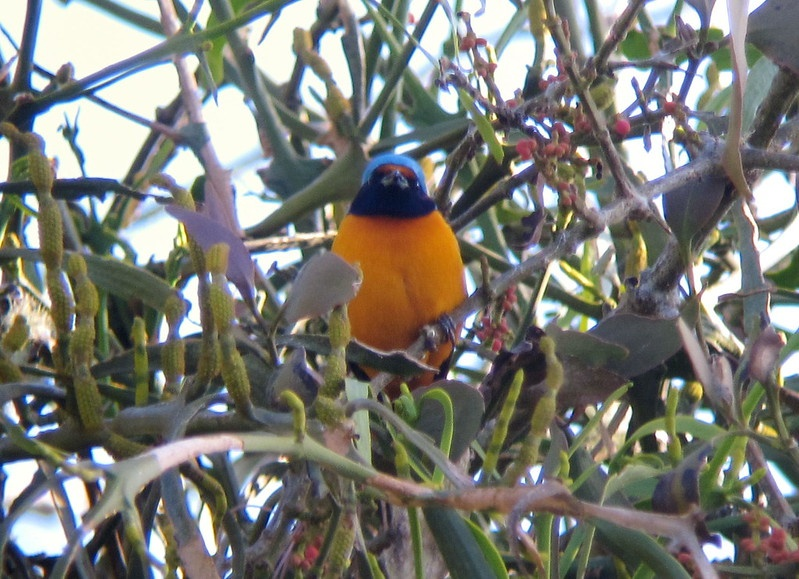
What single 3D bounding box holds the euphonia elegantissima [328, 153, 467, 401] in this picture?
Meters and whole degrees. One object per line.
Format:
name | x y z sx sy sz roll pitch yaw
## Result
euphonia elegantissima | 0.004 -0.083 2.156 0.231 0.309 0.260 -5 -24 -6
